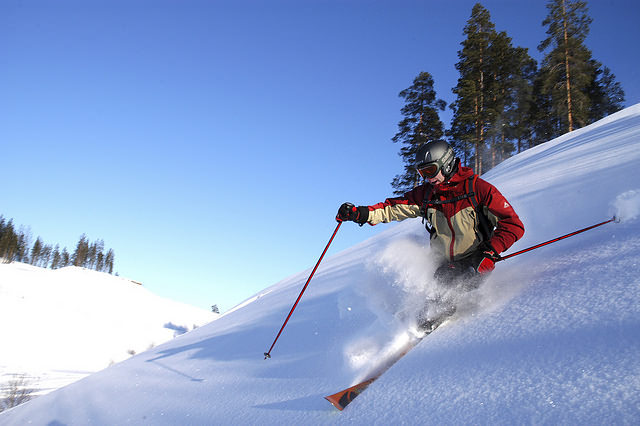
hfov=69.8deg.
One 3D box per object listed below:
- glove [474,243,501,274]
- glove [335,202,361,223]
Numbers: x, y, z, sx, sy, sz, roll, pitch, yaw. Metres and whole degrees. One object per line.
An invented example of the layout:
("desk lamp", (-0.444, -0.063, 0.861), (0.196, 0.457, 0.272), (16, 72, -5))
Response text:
("glove", (2.251, 0.619, 6.177), (0.168, 0.398, 0.306), (13, 4, 37))
("glove", (0.429, 0.006, 7.174), (0.288, 0.378, 0.183), (12, -2, 15))
